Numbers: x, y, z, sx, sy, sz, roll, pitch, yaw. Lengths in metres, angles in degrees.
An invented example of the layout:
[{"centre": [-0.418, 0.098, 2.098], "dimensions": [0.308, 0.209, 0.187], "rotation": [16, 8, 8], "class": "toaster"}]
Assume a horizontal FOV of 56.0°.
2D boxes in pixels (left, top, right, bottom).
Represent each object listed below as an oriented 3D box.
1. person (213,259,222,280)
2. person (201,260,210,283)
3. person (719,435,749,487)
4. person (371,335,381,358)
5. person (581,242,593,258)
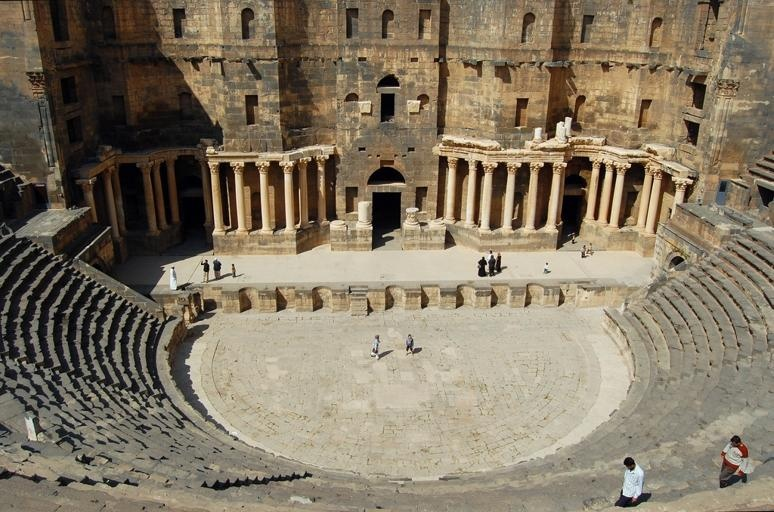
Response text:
[{"centre": [-10.548, 0.788, 44.980], "dimensions": [0.400, 1.217, 1.160], "rotation": [-2, 18, -12], "class": "person"}, {"centre": [-11.181, 0.902, 44.725], "dimensions": [0.365, 1.183, 1.394], "rotation": [-2, 18, -12], "class": "person"}, {"centre": [12.646, 7.565, 26.468], "dimensions": [0.928, 1.921, 0.898], "rotation": [8, 19, 15], "class": "person"}, {"centre": [-0.647, 4.887, 39.026], "dimensions": [0.446, 0.995, 0.560], "rotation": [3, 50, -1], "class": "person"}, {"centre": [13.285, -0.342, 48.611], "dimensions": [1.057, 1.099, 0.387], "rotation": [4, 42, 6], "class": "person"}]
